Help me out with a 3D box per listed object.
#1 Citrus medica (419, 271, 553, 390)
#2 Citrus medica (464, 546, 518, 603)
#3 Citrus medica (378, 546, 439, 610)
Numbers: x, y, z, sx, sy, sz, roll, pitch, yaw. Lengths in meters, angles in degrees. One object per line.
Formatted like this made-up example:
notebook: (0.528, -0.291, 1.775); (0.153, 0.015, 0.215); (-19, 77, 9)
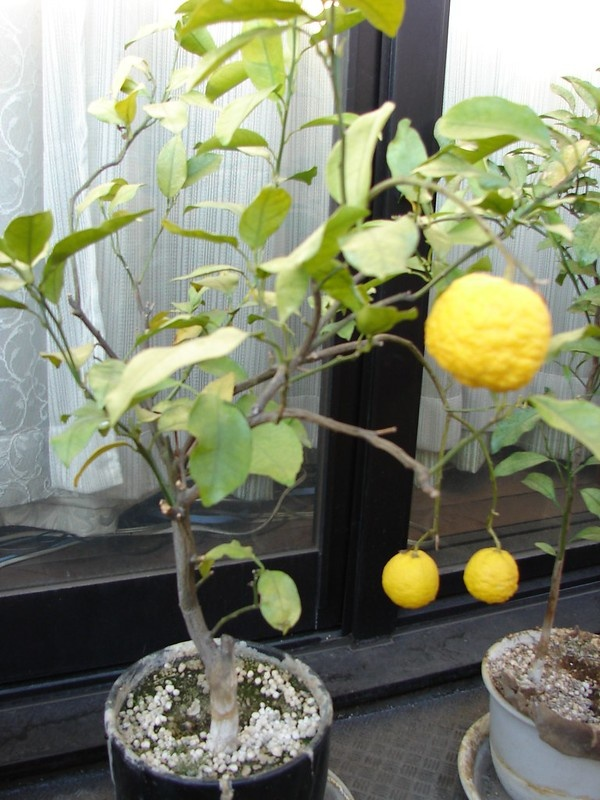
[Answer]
Citrus medica: (0.137, -0.037, 0.480); (0.076, 0.065, 0.076); (11, 35, 24)
Citrus medica: (0.279, 0.265, 1.009); (0.068, 0.066, 0.069); (2, -2, 44)
Citrus medica: (0.168, 0.259, 1.001); (0.075, 0.071, 0.069); (7, -13, -36)
